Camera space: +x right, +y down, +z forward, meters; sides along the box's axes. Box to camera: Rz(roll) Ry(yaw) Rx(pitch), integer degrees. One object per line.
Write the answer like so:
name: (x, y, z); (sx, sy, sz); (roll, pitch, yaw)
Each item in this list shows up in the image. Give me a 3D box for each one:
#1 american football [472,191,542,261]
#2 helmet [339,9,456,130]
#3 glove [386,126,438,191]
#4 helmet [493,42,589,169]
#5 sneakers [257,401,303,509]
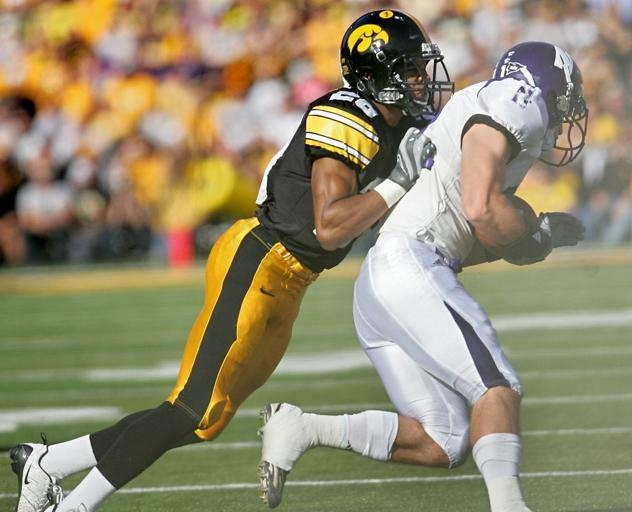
american football: (0.904, -0.168, 5.490); (0.271, 0.299, 0.355); (-13, 10, 8)
helmet: (0.433, -0.978, 5.689); (0.610, 0.516, 0.468); (14, 18, 9)
glove: (0.468, -0.453, 5.377); (0.191, 0.290, 0.132); (30, 7, 12)
helmet: (1.024, -0.752, 5.553); (0.409, 0.540, 0.511); (-9, 16, -14)
sneakers: (-0.165, 0.929, 5.429); (0.236, 0.541, 0.183); (3, 5, 11)
